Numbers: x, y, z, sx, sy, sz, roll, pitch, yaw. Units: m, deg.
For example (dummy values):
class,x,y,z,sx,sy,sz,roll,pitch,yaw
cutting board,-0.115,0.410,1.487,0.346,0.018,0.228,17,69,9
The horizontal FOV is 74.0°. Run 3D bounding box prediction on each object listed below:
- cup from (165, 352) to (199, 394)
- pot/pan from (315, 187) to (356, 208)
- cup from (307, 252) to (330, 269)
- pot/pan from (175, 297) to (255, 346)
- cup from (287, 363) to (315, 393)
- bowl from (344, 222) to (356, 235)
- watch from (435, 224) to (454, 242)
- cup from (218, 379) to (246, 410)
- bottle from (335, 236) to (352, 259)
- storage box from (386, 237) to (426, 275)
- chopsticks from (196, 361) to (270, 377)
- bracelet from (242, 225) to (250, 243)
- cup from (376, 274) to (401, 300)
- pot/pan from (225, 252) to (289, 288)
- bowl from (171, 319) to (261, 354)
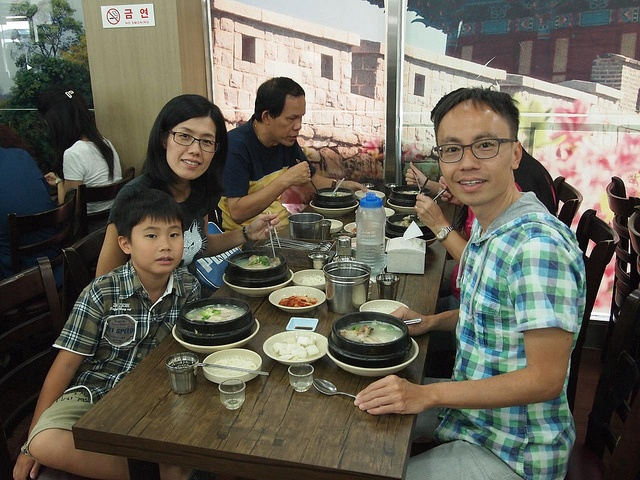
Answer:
class,x,y,z,sx,sy,sz,roll,pitch,yaw
cup,-0.429,0.409,1.329,0.098,0.081,0.109,3,13,-2
pot/pan,0.115,-0.280,3.064,0.213,0.067,0.207,-8,17,-26
cup,-0.010,0.102,2.133,0.084,0.053,0.088,0,2,0
pot/pan,-0.387,0.302,1.522,0.193,0.066,0.190,5,14,11
cup,-0.061,0.425,1.314,0.079,0.063,0.083,1,11,0
bowl,0.194,-0.075,2.698,0.080,0.018,0.080,-1,27,1
watch,0.621,-0.025,2.132,0.060,0.098,0.096,52,13,17
cup,-0.257,0.451,1.237,0.082,0.065,0.086,0,14,0
bottle,0.116,0.037,2.161,0.106,0.153,0.099,-1,16,0
storage box,0.420,0.077,2.108,0.192,0.132,0.187,1,14,9
chopsticks,-0.290,0.418,1.377,0.198,0.024,0.009,13,26,2
bracelet,-0.434,-0.038,2.427,0.025,0.068,0.068,-16,39,-13
cup,0.296,0.204,1.858,0.108,0.110,0.105,0,0,0
pot/pan,-0.298,0.133,1.909,0.190,0.066,0.188,5,12,18
bowl,-0.407,0.349,1.563,0.298,0.070,0.293,3,2,0
